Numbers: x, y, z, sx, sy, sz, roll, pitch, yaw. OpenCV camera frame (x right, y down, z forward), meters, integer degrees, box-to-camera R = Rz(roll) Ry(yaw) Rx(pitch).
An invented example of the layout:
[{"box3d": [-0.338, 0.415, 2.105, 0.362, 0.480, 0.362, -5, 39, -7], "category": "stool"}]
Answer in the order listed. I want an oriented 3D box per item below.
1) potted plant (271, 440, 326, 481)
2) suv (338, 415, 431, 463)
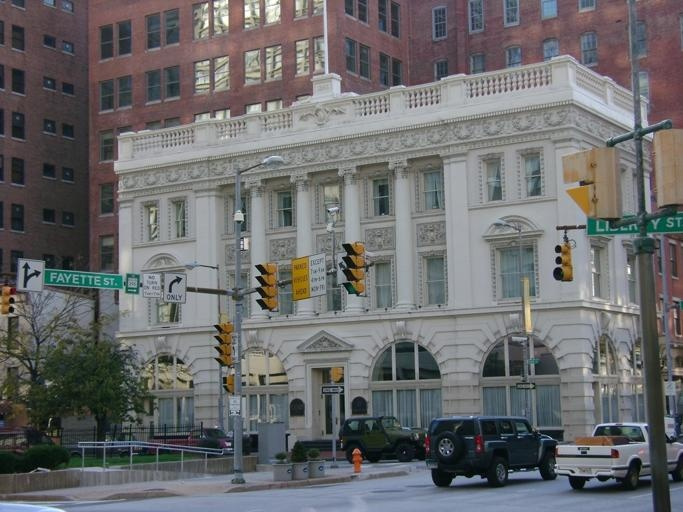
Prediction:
[{"box3d": [-1.945, 9.663, 60.650, 2.366, 1.882, 1.891, -1, -12, -3], "category": "potted plant"}, {"box3d": [2.443, 9.948, 69.694, 3.879, 2.228, 2.340, -6, -10, 23], "category": "suv"}]
